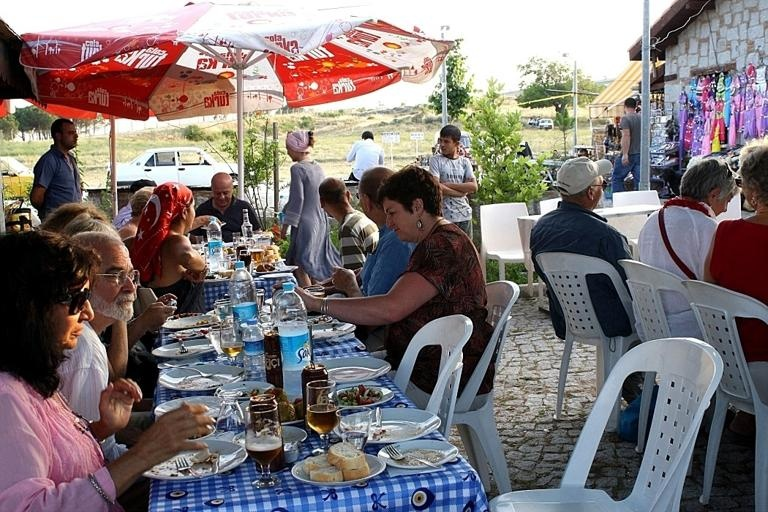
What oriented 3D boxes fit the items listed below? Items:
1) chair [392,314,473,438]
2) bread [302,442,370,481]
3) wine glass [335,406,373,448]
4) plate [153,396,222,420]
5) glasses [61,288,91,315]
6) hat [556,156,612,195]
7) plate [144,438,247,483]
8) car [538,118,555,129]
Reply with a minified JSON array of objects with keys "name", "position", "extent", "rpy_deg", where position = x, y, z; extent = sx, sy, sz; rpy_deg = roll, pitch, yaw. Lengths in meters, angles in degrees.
[{"name":"chair","position":[0.257,0.620,3.261],"extent":[0.381,0.710,0.467],"rpy_deg":[5,20,-14]},{"name":"bread","position":[-0.171,0.776,2.262],"extent":[0.142,0.038,0.148],"rpy_deg":[-7,15,-26]},{"name":"wine glass","position":[-0.111,0.672,2.443],"extent":[0.141,0.172,0.155],"rpy_deg":[0,-4,1]},{"name":"plate","position":[-0.833,0.651,2.609],"extent":[0.196,0.028,0.198],"rpy_deg":[-3,14,-17]},{"name":"glasses","position":[-1.183,0.174,2.345],"extent":[0.081,0.027,0.082],"rpy_deg":[4,13,9]},{"name":"hat","position":[1.685,-0.645,5.079],"extent":[0.515,0.225,0.321],"rpy_deg":[-34,32,-26]},{"name":"plate","position":[-0.722,0.808,2.388],"extent":[0.240,0.043,0.235],"rpy_deg":[-15,11,-28]},{"name":"car","position":[15.410,-12.597,58.804],"extent":[1.081,0.884,1.846],"rpy_deg":[-1,14,0]}]
